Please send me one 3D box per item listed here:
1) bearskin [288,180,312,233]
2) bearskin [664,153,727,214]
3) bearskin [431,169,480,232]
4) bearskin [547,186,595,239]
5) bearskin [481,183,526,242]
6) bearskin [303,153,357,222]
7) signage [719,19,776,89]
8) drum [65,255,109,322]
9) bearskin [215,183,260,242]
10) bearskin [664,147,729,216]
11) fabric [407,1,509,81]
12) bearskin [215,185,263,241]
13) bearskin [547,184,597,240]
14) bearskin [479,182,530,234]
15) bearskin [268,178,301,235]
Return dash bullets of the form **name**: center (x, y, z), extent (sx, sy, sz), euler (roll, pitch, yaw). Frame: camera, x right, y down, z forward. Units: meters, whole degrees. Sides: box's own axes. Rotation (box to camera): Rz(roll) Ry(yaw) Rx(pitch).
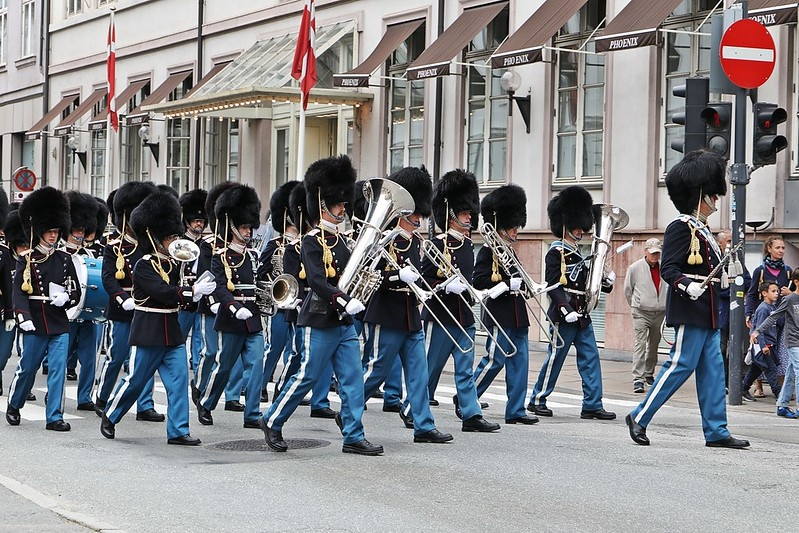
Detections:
- **bearskin**: center (-1.136, -0.684, 15.963), extent (0.240, 0.652, 0.352), euler (9, 14, 36)
- **bearskin**: center (3.235, -0.963, 15.230), extent (0.740, 0.564, 0.530), euler (-9, 10, -1)
- **bearskin**: center (0.604, -0.816, 16.293), extent (0.596, 0.658, 0.729), euler (-1, -5, 3)
- **bearskin**: center (1.926, -0.698, 17.066), extent (0.687, 0.606, 0.547), euler (-1, -4, 42)
- **bearskin**: center (1.263, -0.681, 16.660), extent (0.670, 0.656, 0.658), euler (-1, -18, 18)
- **bearskin**: center (-0.730, -0.870, 14.736), extent (0.709, 0.615, 0.577), euler (-14, 7, -28)
- **signage**: center (4.264, -2.639, 17.075), extent (0.712, 0.845, 0.198), euler (0, 1, -13)
- **drum**: center (-3.685, 0.268, 16.339), extent (0.429, 0.615, 0.658), euler (8, 18, -27)
- **bearskin**: center (-1.896, -0.669, 16.495), extent (0.570, 0.610, 0.678), euler (-2, 23, -3)
- **bearskin**: center (3.203, -0.938, 15.019), extent (0.813, 0.648, 0.579), euler (-13, 3, 1)
- **fabric**: center (0.935, -4.118, 25.155), extent (1.759, 1.042, 1.459), euler (-18, 9, -34)
- **bearskin**: center (-1.901, -0.646, 16.624), extent (0.571, 0.628, 0.642), euler (1, -2, 1)
- **bearskin**: center (2.086, -0.660, 16.955), extent (0.578, 0.603, 0.649), euler (-2, 17, -10)
- **bearskin**: center (1.174, -0.718, 16.796), extent (0.624, 0.502, 0.518), euler (3, 3, -8)
- **bearskin**: center (-1.469, -0.744, 17.175), extent (0.556, 0.569, 0.624), euler (0, -27, -6)
